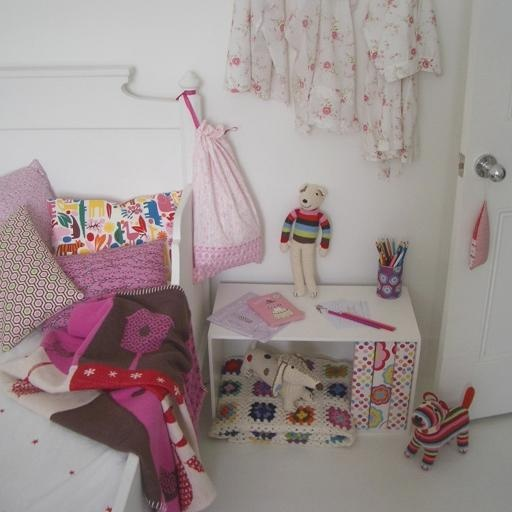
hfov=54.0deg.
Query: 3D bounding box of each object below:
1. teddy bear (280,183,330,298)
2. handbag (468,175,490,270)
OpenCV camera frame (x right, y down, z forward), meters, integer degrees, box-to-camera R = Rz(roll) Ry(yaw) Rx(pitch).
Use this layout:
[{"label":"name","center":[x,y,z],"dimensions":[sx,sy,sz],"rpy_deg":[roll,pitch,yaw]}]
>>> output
[{"label":"teddy bear","center":[0.187,-0.060,2.009],"dimensions":[0.188,0.475,0.201],"rpy_deg":[0,26,8]},{"label":"handbag","center":[0.697,-0.086,1.624],"dimensions":[0.065,0.301,0.039],"rpy_deg":[-18,29,-27]}]
